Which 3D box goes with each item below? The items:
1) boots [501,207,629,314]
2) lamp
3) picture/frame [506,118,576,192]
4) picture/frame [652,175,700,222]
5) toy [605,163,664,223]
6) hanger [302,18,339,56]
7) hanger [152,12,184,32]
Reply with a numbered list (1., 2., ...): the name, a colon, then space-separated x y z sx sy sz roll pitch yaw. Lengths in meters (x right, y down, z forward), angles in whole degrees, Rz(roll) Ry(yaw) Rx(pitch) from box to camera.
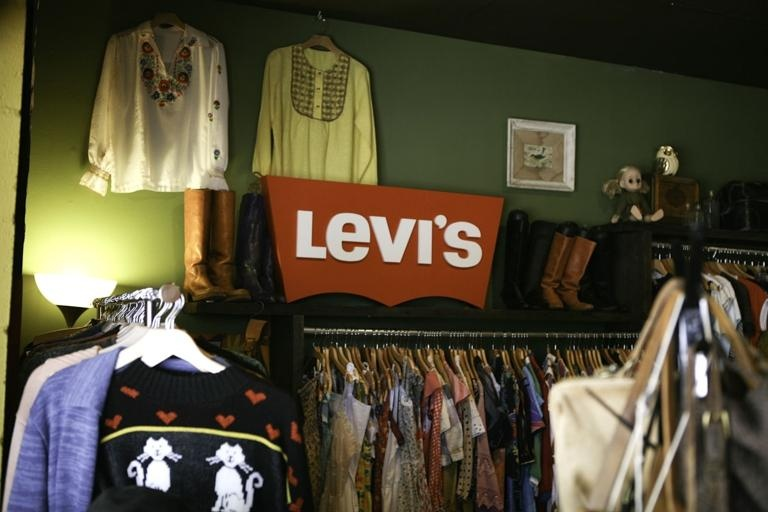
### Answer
1. boots: 1.046 0.040 4.355 0.517 0.643 0.478 -5 -9 44
2. lamp: -1.496 0.166 3.709 0.308 0.306 0.303 5 -6 -7
3. picture/frame: 0.938 -0.614 4.621 0.397 0.427 0.033 2 -3 -15
4. picture/frame: 1.795 -0.358 4.623 0.342 0.211 0.102 2 2 -19
5. toy: 1.501 -0.378 4.628 0.331 0.415 0.326 3 -10 -14
6. hanger: -0.368 -1.248 4.289 0.222 0.191 0.033 3 -14 -20
7. hanger: -1.136 -1.231 3.960 0.139 0.064 0.015 0 -4 -32
